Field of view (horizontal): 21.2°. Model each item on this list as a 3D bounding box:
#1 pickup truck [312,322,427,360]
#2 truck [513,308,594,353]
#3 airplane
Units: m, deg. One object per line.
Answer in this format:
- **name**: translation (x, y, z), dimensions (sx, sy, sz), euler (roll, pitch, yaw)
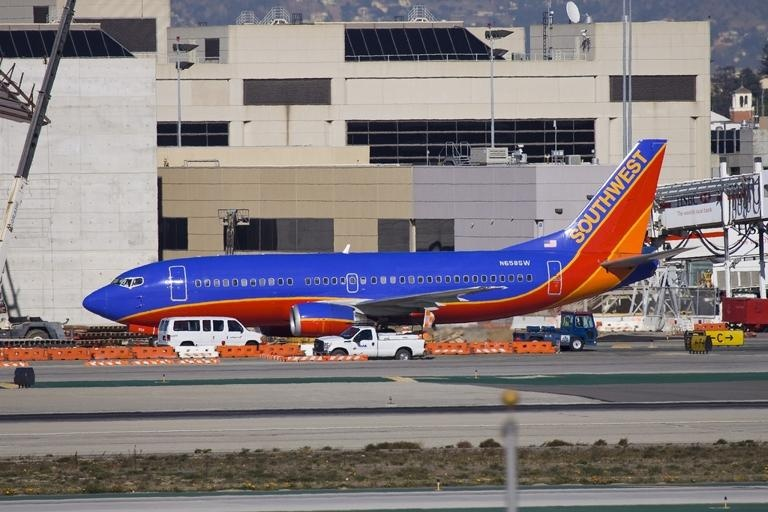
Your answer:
- **pickup truck**: translation (-1.372, 6.994, 167.670), dimensions (7.767, 2.097, 3.355), euler (2, -3, -5)
- **truck**: translation (14.550, 6.471, 171.621), dimensions (5.602, 3.028, 3.117), euler (1, 11, 19)
- **airplane**: translation (-0.196, -0.394, 174.771), dimensions (51.015, 14.244, 36.168), euler (-2, 8, -16)
